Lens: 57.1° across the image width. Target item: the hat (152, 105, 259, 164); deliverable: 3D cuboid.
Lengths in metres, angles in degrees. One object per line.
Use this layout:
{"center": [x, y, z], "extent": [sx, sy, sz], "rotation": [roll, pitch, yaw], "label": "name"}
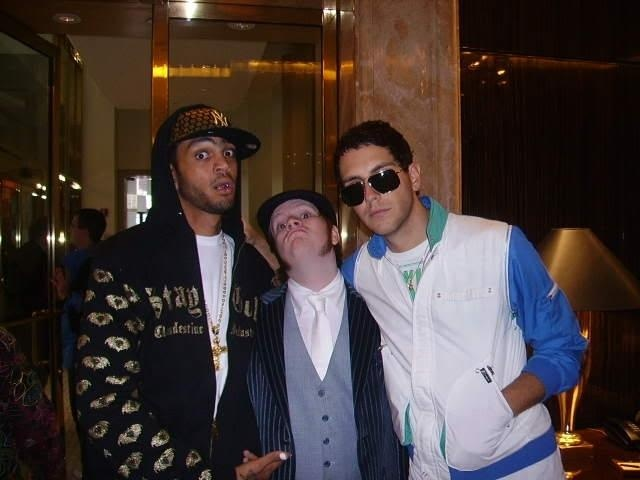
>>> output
{"center": [-0.644, -0.632, 3.403], "extent": [0.410, 0.227, 0.338], "rotation": [-16, -13, 4], "label": "hat"}
